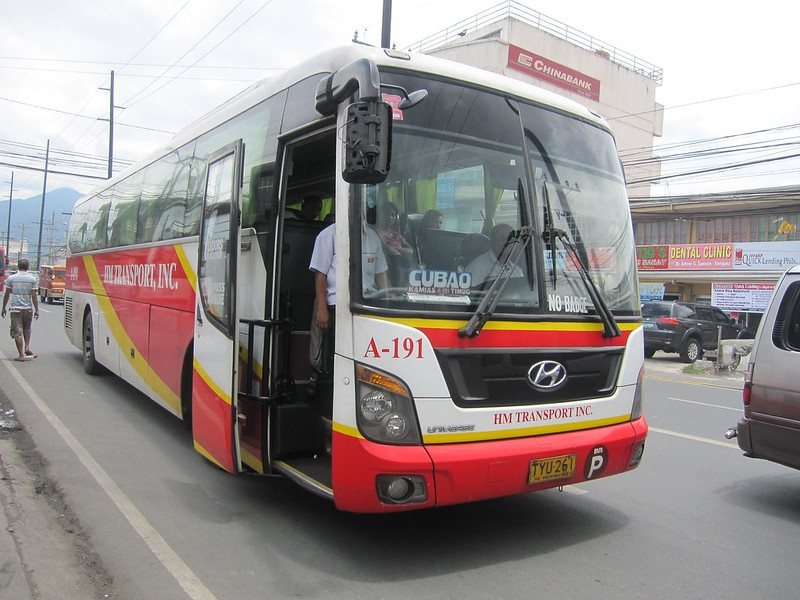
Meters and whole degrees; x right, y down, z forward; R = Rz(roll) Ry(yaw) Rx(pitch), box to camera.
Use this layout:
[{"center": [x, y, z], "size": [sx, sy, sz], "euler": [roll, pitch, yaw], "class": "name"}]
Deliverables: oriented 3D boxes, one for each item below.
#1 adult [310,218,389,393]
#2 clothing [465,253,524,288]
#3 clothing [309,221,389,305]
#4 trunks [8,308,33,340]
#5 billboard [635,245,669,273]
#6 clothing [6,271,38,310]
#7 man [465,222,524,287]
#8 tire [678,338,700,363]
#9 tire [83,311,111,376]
[{"center": [-0.459, -0.012, 5.036], "size": [0.694, 2.132, 0.513], "euler": [2, 25, -10], "class": "adult"}, {"center": [0.663, -0.240, 4.310], "size": [0.296, 0.281, 0.089], "euler": [1, 2, -28], "class": "clothing"}, {"center": [-0.373, -0.282, 4.336], "size": [0.632, 0.718, 0.327], "euler": [0, -3, -17], "class": "clothing"}, {"center": [-7.820, 0.494, 11.477], "size": [0.355, 0.610, 0.445], "euler": [1, 2, -38], "class": "trunks"}, {"center": [11.392, -1.813, 24.777], "size": [0.261, 1.545, 1.961], "euler": [6, 2, -27], "class": "billboard"}, {"center": [-7.909, -0.205, 11.609], "size": [0.524, 0.784, 0.464], "euler": [1, 2, -39], "class": "clothing"}, {"center": [0.779, -0.269, 4.456], "size": [0.333, 0.617, 0.708], "euler": [1, -1, 36], "class": "man"}, {"center": [9.219, 1.561, 17.595], "size": [0.689, 0.798, 0.248], "euler": [-2, -1, -41], "class": "tire"}, {"center": [-5.897, 0.843, 10.821], "size": [0.375, 1.253, 1.087], "euler": [1, -5, -41], "class": "tire"}]
